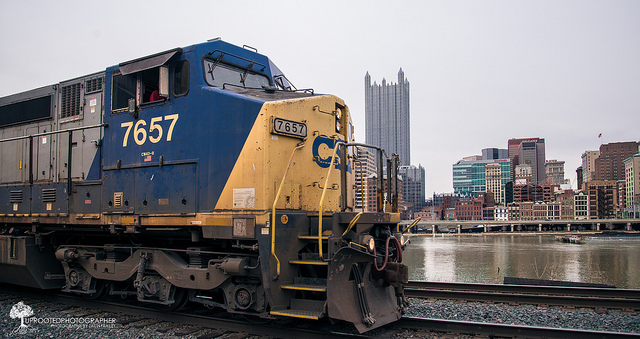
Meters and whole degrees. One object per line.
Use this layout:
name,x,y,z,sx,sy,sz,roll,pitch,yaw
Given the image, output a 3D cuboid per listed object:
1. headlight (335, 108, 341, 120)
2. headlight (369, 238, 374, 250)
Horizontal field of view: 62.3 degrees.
headlight,0.690,-2.070,19.856,0.094,0.274,0.299,-5,-10,9
headlight,1.767,2.553,18.118,0.052,0.300,0.199,3,-2,43
